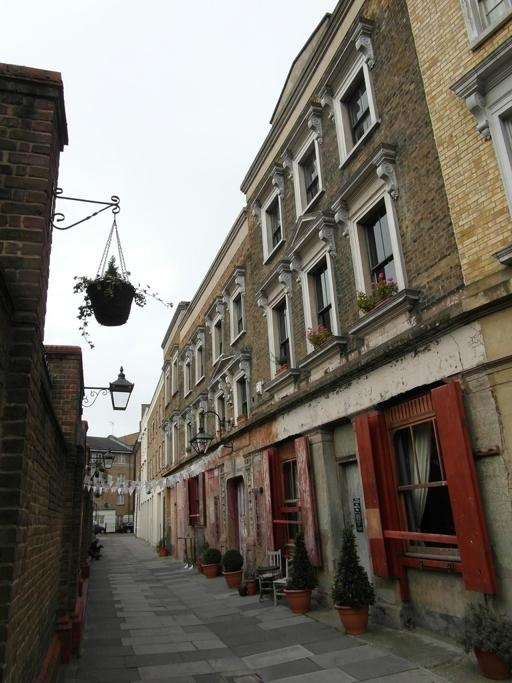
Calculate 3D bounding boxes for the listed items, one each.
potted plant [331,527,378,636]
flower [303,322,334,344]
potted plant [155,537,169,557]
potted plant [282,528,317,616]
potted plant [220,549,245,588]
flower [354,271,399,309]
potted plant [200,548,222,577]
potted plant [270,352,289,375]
[{"bbox_3d":[1.386,3.456,6.830,0.555,1.410,0.511,0,-17,-12],"label":"potted plant"},{"bbox_3d":[1.314,-0.128,9.638,0.351,0.479,0.423,-7,0,-17],"label":"flower"},{"bbox_3d":[-4.974,10.970,25.408,0.562,0.867,1.431,-1,-18,-10],"label":"potted plant"},{"bbox_3d":[0.806,4.247,8.742,0.597,1.359,0.771,-4,-17,4],"label":"potted plant"},{"bbox_3d":[-0.630,6.022,12.549,0.539,0.934,0.636,-2,-17,-4],"label":"potted plant"},{"bbox_3d":[1.981,-0.774,7.824,0.304,0.464,0.663,45,-45,-14],"label":"flower"},{"bbox_3d":[-1.397,7.220,15.611,0.715,0.957,0.754,9,-20,-27],"label":"potted plant"},{"bbox_3d":[0.598,0.563,12.293,0.370,0.175,0.490,-26,3,20],"label":"potted plant"}]
